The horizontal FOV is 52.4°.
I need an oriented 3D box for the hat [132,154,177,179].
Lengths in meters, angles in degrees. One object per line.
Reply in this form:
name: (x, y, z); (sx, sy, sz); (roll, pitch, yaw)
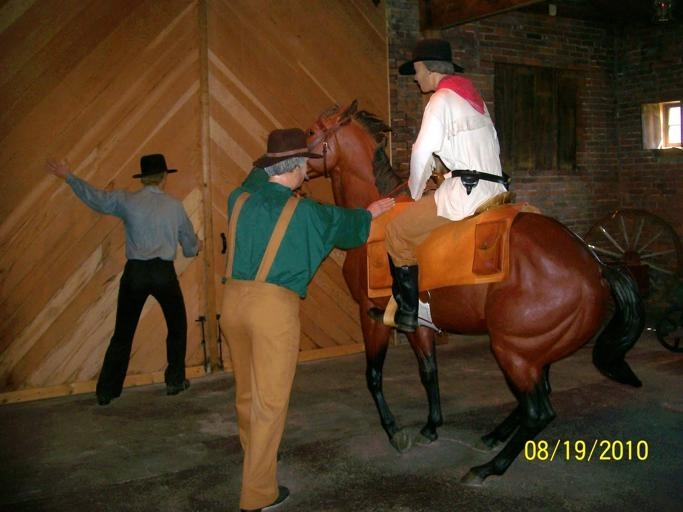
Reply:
hat: (-1.888, -0.917, 7.141); (0.268, 0.132, 0.329); (-9, 6, 13)

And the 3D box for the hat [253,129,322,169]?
hat: (-0.437, -0.850, 5.334); (0.556, 0.258, 0.478); (-3, 20, 1)

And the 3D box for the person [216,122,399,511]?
person: (-0.463, 0.447, 5.281); (1.042, 2.709, 0.647); (-10, 17, -31)

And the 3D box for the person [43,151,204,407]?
person: (-1.999, 0.225, 7.050); (1.193, 2.389, 0.564); (-6, 15, -18)

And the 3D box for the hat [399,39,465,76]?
hat: (0.765, -1.653, 5.853); (0.592, 0.276, 0.471); (3, 5, 14)
